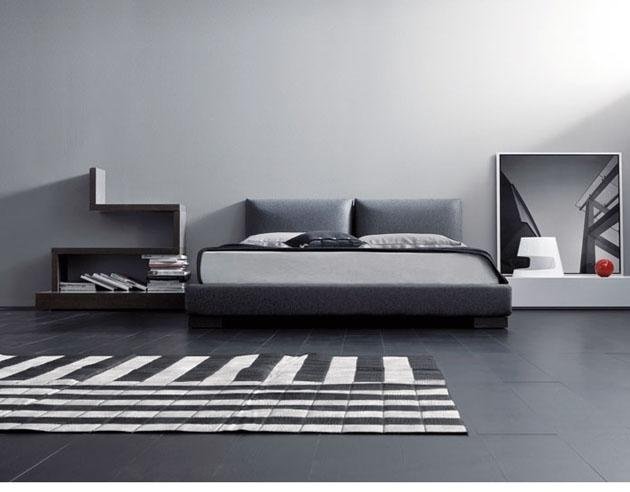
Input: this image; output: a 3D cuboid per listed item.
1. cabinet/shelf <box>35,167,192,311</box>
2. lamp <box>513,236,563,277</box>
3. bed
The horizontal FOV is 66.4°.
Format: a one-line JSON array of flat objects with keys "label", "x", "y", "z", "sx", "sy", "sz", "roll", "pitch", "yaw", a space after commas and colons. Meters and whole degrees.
[{"label": "cabinet/shelf", "x": -1.939, "y": -0.101, "z": 4.646, "sx": 1.408, "sy": 1.305, "sz": 0.479, "roll": 1, "pitch": 8, "yaw": -20}, {"label": "lamp", "x": 2.066, "y": 0.101, "z": 4.457, "sx": 0.384, "sy": 0.337, "sz": 0.407, "roll": 0, "pitch": 0, "yaw": 15}, {"label": "bed", "x": 0.235, "y": 0.045, "z": 3.981, "sx": 2.123, "sy": 0.968, "sz": 1.760, "roll": 0, "pitch": 2, "yaw": 2}]
